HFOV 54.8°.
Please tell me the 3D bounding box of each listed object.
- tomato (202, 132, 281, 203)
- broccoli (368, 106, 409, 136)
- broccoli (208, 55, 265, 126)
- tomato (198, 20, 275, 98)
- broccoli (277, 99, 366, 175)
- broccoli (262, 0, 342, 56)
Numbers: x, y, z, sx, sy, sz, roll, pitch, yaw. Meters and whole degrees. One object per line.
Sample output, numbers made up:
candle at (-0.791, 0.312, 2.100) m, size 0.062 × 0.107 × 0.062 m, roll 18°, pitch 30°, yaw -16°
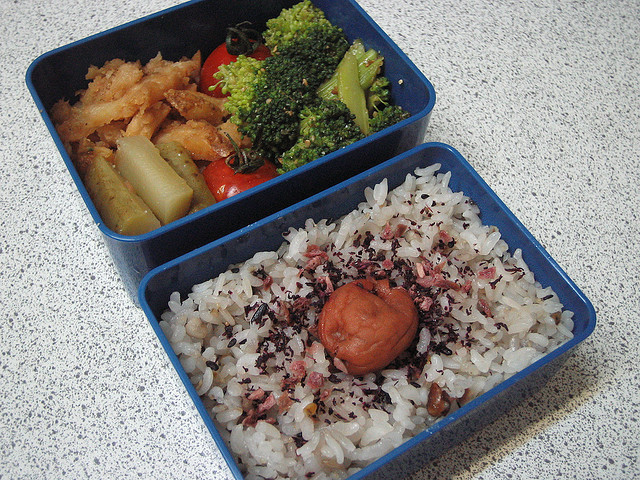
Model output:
tomato at (-0.263, -0.221, 2.114) m, size 0.227 × 0.240 × 0.241 m, roll 20°, pitch 62°, yaw 6°
broccoli at (0.221, -0.398, 2.036) m, size 0.118 × 0.097 × 0.066 m, roll -18°, pitch 101°, yaw 18°
broccoli at (-0.266, -0.532, 2.121) m, size 0.214 × 0.089 × 0.201 m, roll -38°, pitch 76°, yaw -7°
tomato at (-0.277, -0.640, 2.282) m, size 0.262 × 0.271 × 0.360 m, roll -6°, pitch 103°, yaw 5°
broccoli at (0.009, -0.345, 2.040) m, size 0.216 × 0.128 × 0.265 m, roll -17°, pitch 56°, yaw 7°
broccoli at (-0.066, -0.755, 2.262) m, size 0.242 × 0.135 × 0.212 m, roll -17°, pitch 70°, yaw -1°
